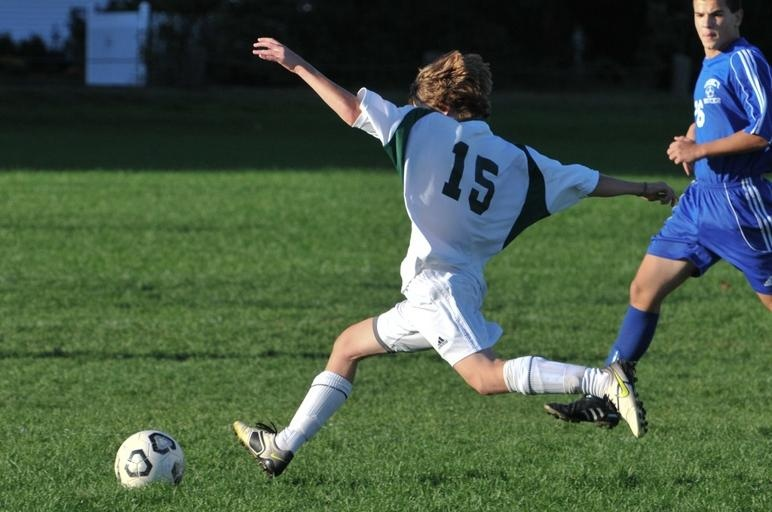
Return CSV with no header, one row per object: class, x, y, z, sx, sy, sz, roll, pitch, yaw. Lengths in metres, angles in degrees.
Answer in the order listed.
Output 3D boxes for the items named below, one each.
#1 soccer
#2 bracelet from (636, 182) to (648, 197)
soccer,-1.699,1.428,9.767,0.466,0.419,0.402,-7,0,1
bracelet,1.869,-0.489,9.913,0.086,0.095,0.036,5,0,-14
